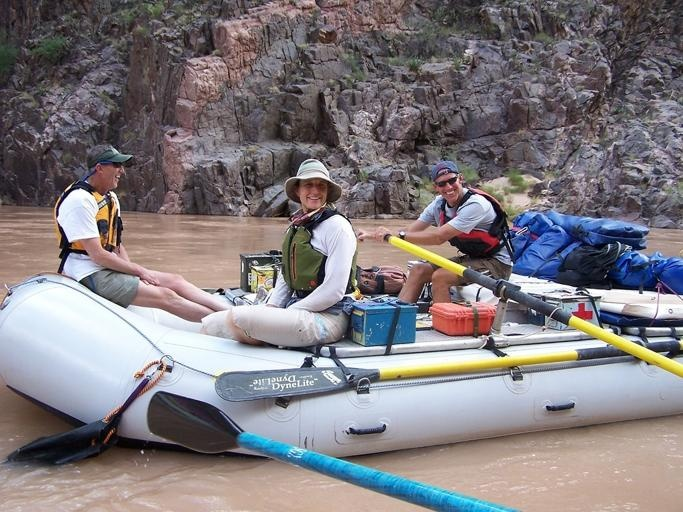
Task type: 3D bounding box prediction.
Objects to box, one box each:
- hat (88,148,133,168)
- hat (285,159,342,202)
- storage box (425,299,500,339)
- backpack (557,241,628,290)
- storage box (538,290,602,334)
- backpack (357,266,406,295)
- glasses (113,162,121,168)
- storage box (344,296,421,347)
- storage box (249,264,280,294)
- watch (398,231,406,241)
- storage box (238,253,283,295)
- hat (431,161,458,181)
[{"bbox_3d":[-1.998,-0.934,7.096,0.625,0.178,0.333,-4,7,-11],"label":"hat"},{"bbox_3d":[-0.266,-0.699,6.833,0.501,0.220,0.464,-1,-27,-3],"label":"hat"},{"bbox_3d":[1.114,0.553,6.988,0.549,0.179,0.397,-2,7,-20],"label":"storage box"},{"bbox_3d":[2.588,0.081,8.077,0.702,0.430,0.301,-1,-17,22],"label":"backpack"},{"bbox_3d":[2.157,0.510,7.585,0.637,0.408,0.718,1,-6,-5],"label":"storage box"},{"bbox_3d":[0.441,0.254,8.575,0.506,0.156,0.328,1,6,10],"label":"backpack"},{"bbox_3d":[-2.050,-0.855,7.016,0.073,0.025,0.087,1,1,-23],"label":"glasses"},{"bbox_3d":[0.343,0.565,6.637,0.540,0.259,0.363,3,5,-28],"label":"storage box"},{"bbox_3d":[-0.840,0.236,8.232,0.499,0.344,0.311,2,-6,-4],"label":"storage box"},{"bbox_3d":[0.595,-0.217,7.602,0.072,0.076,0.097,11,6,12],"label":"watch"},{"bbox_3d":[-0.963,0.166,8.517,0.340,0.381,0.522,20,8,37],"label":"storage box"},{"bbox_3d":[1.048,-0.887,7.847,0.246,0.200,0.220,7,11,16],"label":"hat"}]
